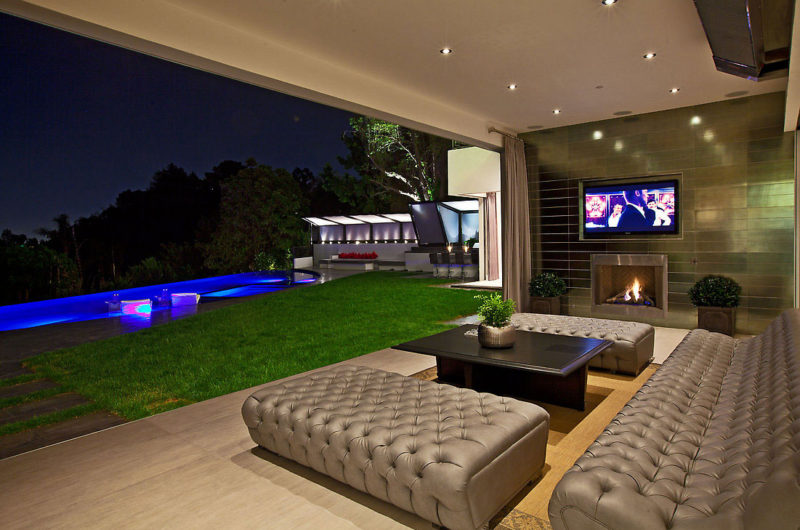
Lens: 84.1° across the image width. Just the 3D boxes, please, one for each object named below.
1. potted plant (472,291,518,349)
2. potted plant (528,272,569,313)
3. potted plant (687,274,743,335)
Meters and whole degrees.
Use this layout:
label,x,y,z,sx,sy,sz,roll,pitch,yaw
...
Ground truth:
label,x,y,z,sx,sy,sz,roll,pitch,yaw
potted plant,1.113,0.585,5.020,0.404,0.582,0.473,1,9,12
potted plant,2.792,0.491,8.525,0.701,0.946,0.728,0,0,26
potted plant,5.102,0.635,7.281,0.988,1.216,0.899,2,2,33
